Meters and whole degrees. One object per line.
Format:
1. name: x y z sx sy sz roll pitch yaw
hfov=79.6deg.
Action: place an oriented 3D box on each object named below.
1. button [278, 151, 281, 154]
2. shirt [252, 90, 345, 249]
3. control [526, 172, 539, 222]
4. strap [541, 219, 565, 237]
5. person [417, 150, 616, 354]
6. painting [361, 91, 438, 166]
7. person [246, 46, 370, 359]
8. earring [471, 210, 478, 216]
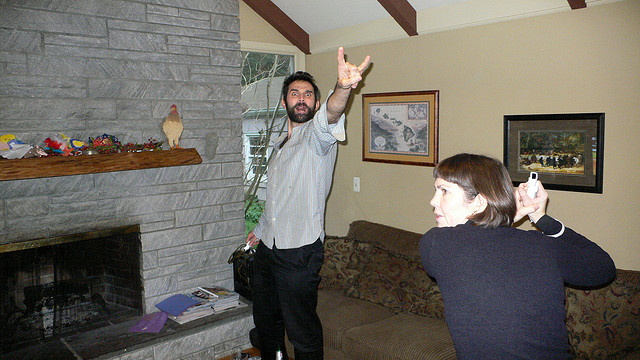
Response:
1. button: -0.300 -0.213 2.876 0.019 0.021 0.024 -1 5 -19
2. shirt: -0.104 -0.043 2.771 0.349 1.118 0.627 1 7 -40
3. control: 1.133 0.035 2.057 0.043 0.150 0.040 7 1 9
4. strap: 1.163 0.245 1.894 0.081 0.081 0.021 55 13 32
5. person: 0.957 0.381 1.950 0.836 0.991 0.412 4 6 -16
6. painting: 0.803 -0.527 3.970 1.066 0.748 0.042 -3 5 -30
7. person: -0.133 0.261 2.759 0.438 2.196 0.909 3 6 -30
8. earring: 0.782 0.164 1.942 0.018 0.022 0.007 5 -23 27
